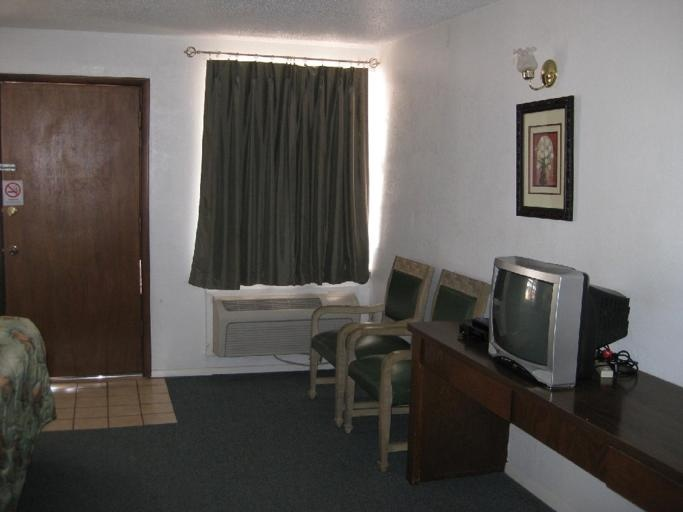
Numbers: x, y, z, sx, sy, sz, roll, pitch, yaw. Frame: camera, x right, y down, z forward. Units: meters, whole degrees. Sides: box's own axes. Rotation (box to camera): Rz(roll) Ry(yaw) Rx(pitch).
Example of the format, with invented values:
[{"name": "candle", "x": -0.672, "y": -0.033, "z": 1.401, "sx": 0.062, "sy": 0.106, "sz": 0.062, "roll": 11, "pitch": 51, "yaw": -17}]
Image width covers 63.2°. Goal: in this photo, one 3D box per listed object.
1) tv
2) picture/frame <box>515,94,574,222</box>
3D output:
[{"name": "tv", "x": 1.052, "y": 0.235, "z": 2.697, "sx": 0.519, "sy": 0.564, "sz": 0.539, "roll": -3, "pitch": 8, "yaw": -18}, {"name": "picture/frame", "x": 1.125, "y": -0.541, "z": 3.080, "sx": 0.048, "sy": 0.654, "sz": 0.441, "roll": -4, "pitch": 12, "yaw": -25}]
